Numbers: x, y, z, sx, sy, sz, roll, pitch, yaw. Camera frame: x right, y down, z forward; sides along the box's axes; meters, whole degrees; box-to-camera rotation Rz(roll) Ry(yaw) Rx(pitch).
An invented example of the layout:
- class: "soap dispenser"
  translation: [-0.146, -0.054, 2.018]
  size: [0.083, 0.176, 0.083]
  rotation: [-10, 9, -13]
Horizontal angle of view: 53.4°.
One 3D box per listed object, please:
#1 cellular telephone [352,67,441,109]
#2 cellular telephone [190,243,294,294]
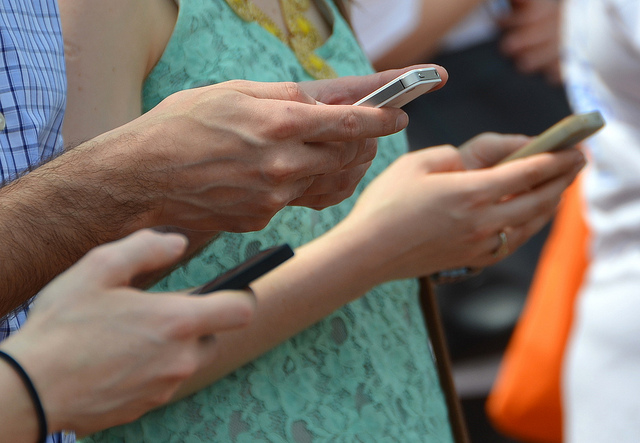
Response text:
- class: "cellular telephone"
  translation: [0.140, -0.241, 1.172]
  size: [0.156, 0.099, 0.041]
  rotation: [-15, 72, -20]
- class: "cellular telephone"
  translation: [-0.125, 0.087, 1.037]
  size: [0.158, 0.113, 0.038]
  rotation: [-19, 73, -21]
